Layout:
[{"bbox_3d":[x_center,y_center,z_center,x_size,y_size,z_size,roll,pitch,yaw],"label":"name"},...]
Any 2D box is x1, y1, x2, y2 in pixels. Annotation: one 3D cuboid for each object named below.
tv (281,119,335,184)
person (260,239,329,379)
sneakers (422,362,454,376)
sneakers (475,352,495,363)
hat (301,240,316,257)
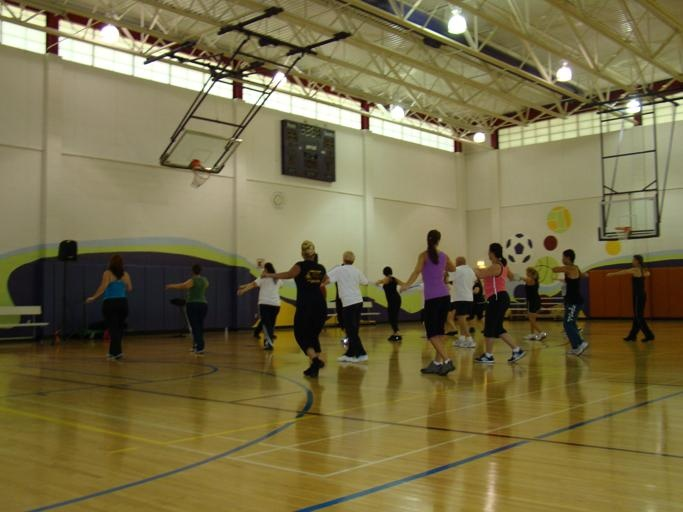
[{"bbox_3d":[-1.250,-3.637,18.949,2.376,1.996,0.403,5,-8,-43],"label":"tv"},{"bbox_3d":[-0.473,0.719,7.262,0.666,1.840,0.620,1,-2,-27],"label":"person"},{"bbox_3d":[1.336,1.553,7.488,0.499,0.217,0.185,-4,-3,42],"label":"sneakers"},{"bbox_3d":[2.184,1.577,8.418,0.336,0.155,0.145,0,-3,43],"label":"sneakers"},{"bbox_3d":[-0.459,-0.094,7.377,0.257,0.331,0.308,0,2,-5],"label":"hat"}]
